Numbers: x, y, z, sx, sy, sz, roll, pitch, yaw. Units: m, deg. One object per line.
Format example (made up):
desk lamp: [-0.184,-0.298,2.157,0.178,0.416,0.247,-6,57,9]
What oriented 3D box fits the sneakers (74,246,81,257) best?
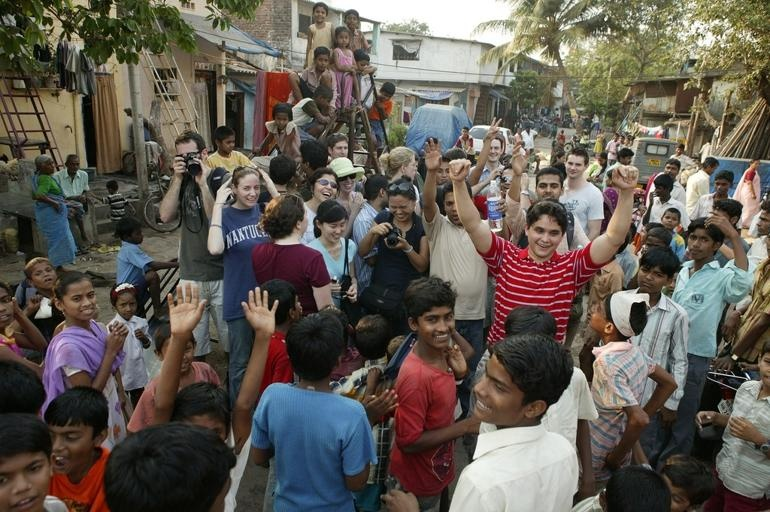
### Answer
sneakers: [-5.579,-0.101,11.668,0.104,0.218,0.291,-2,-5,-21]

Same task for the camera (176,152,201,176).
camera: [-2.073,-0.977,6.834,0.128,0.246,0.258,-11,22,-43]

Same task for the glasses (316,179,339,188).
glasses: [-0.631,-0.805,7.073,0.212,0.100,0.088,-3,18,-28]

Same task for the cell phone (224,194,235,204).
cell phone: [-1.700,-0.633,7.029,0.078,0.117,0.033,31,25,36]

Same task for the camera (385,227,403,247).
camera: [0.094,-0.204,6.717,0.167,0.197,0.138,4,16,-4]

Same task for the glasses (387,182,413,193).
glasses: [0.180,-0.727,6.775,0.264,0.118,0.158,5,16,-1]

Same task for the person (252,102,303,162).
person: [-1.531,-1.851,9.401,0.581,0.796,1.590,1,16,-13]
